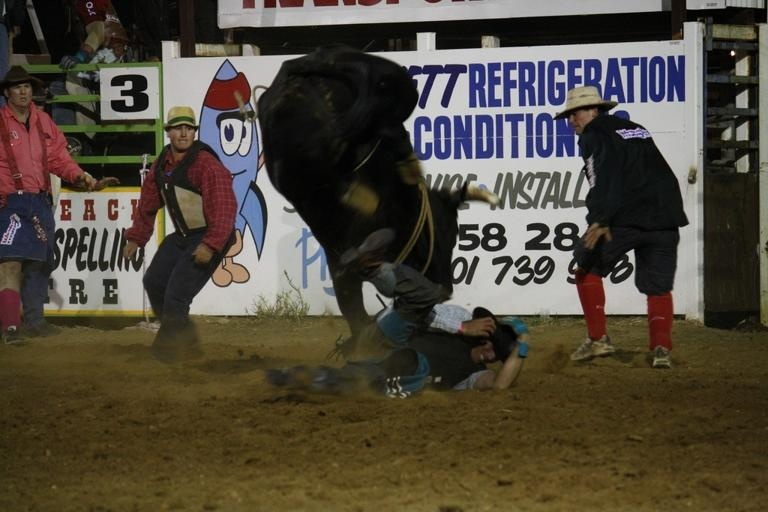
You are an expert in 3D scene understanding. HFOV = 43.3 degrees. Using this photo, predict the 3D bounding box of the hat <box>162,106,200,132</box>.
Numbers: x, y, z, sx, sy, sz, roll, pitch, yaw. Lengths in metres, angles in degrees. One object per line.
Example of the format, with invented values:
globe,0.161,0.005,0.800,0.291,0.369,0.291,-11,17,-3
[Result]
hat,-2.247,-1.548,10.994,0.445,0.300,0.636,-1,-3,-13

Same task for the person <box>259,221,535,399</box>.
person,0.205,0.744,9.660,2.156,0.936,1.093,-5,2,-8

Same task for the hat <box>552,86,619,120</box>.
hat,2.177,-1.661,10.400,0.465,0.201,0.452,-15,0,-5

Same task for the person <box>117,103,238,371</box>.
person,-2.159,-0.263,10.626,1.164,2.708,0.666,1,5,2

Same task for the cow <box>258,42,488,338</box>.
cow,-0.165,-0.519,8.865,1.509,2.612,0.844,-29,17,-17

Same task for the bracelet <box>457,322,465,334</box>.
bracelet,0.736,0.701,9.390,0.056,0.087,0.024,4,-7,40

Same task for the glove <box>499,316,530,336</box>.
glove,1.313,0.724,9.862,0.259,0.111,0.359,16,7,-1

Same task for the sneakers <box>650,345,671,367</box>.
sneakers,2.878,1.051,10.194,0.197,0.227,0.344,2,7,16

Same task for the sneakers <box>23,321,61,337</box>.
sneakers,-4.051,0.890,11.686,0.392,0.183,0.182,-6,14,-34

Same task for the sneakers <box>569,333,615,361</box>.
sneakers,2.224,1.014,10.494,0.448,0.230,0.224,-18,9,6
